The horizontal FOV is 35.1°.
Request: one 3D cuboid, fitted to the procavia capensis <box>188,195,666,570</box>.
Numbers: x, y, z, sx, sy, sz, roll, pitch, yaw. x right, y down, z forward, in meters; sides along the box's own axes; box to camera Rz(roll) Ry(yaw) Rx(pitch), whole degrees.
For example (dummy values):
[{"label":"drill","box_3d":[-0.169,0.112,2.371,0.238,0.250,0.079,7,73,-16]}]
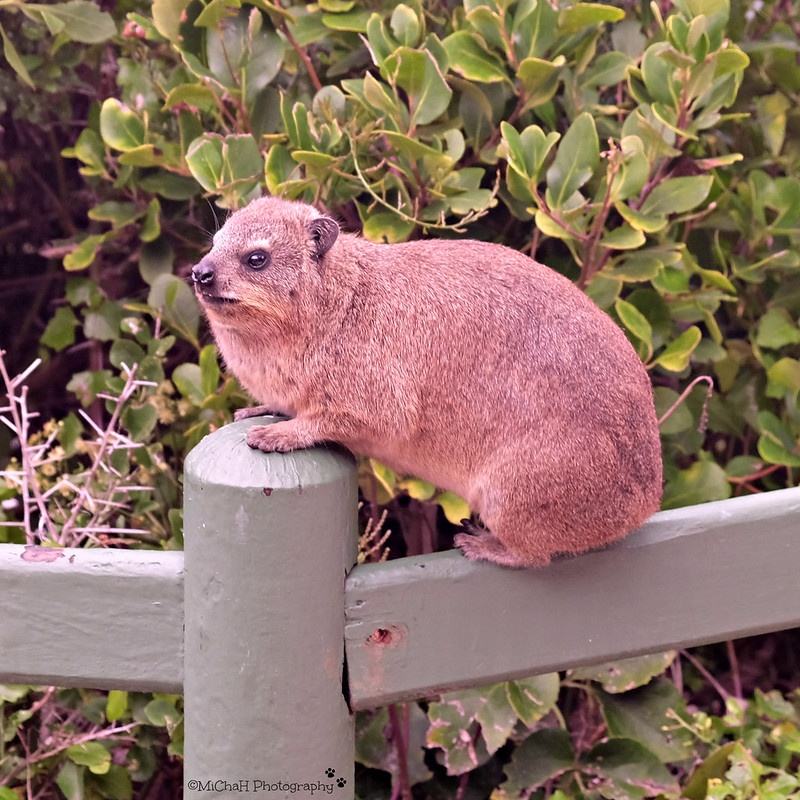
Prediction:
[{"label":"procavia capensis","box_3d":[0.092,-0.085,3.190,1.252,0.619,0.696,27,25,2]}]
